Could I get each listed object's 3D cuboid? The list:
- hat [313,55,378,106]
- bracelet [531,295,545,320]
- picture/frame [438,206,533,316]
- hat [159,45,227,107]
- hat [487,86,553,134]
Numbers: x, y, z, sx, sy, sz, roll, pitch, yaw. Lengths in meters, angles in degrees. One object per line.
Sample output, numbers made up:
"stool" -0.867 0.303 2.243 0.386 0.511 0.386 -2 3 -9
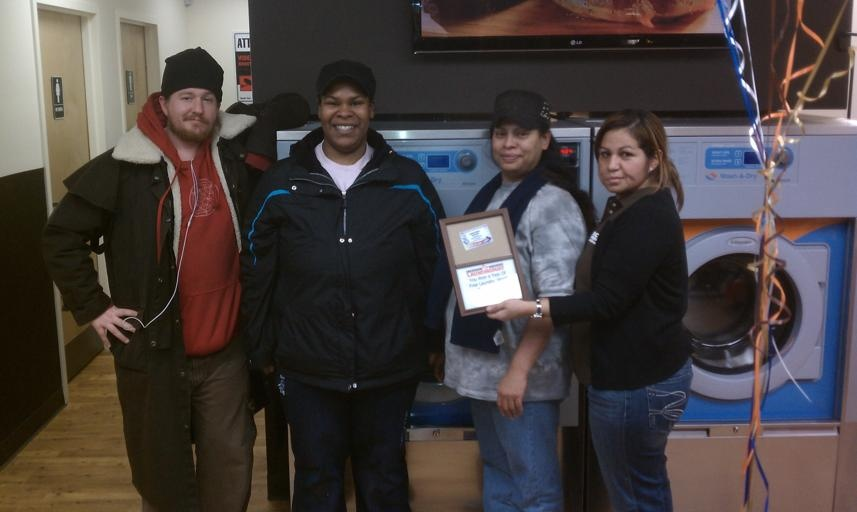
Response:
"hat" -0.404 -0.852 3.249 0.269 0.166 0.352 1 -7 -27
"bracelet" 0.450 0.223 2.866 0.053 0.083 0.085 -1 4 6
"picture/frame" 0.263 0.027 2.934 0.414 0.541 0.038 -14 -12 -3
"hat" -1.125 -0.887 3.278 0.278 0.229 0.273 6 -3 -34
"hat" 0.424 -0.683 3.116 0.277 0.179 0.363 1 23 8
